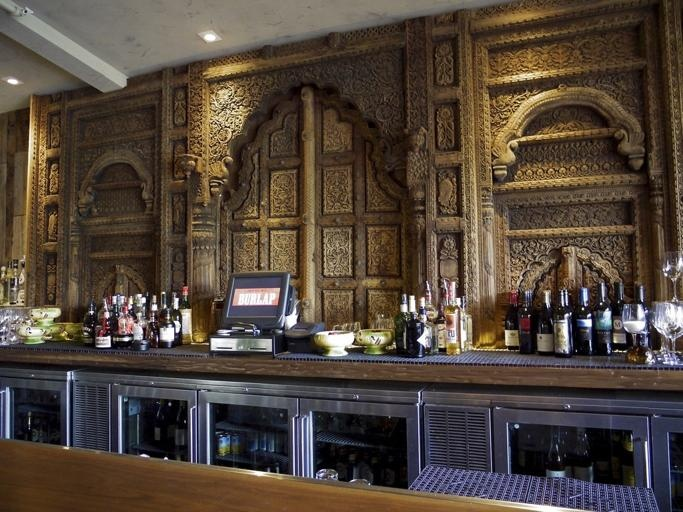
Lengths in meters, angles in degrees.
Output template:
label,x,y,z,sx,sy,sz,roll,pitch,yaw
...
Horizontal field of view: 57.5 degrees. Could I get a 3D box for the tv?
label,x,y,z,sx,sy,sz,roll,pitch,yaw
tv,-0.531,0.297,4.056,0.312,0.283,0.175,3,-35,9

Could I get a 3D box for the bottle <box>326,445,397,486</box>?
label,x,y,z,sx,sy,sz,roll,pitch,yaw
bottle,0.136,1.258,3.861,0.357,0.124,0.266,0,-6,21

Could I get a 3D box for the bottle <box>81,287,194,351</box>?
label,x,y,z,sx,sy,sz,roll,pitch,yaw
bottle,-1.485,0.452,4.430,0.602,0.306,0.458,0,-4,7
